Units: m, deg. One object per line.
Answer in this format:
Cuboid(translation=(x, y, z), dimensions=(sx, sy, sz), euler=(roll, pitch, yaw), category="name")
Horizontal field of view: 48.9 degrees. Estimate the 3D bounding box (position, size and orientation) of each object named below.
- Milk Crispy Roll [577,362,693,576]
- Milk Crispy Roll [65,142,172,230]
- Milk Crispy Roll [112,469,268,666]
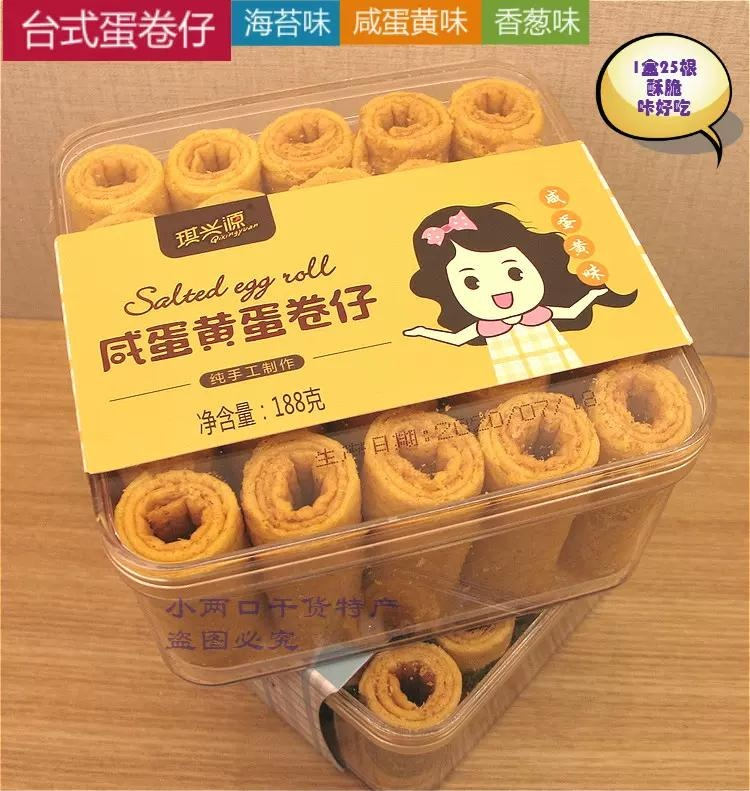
Cuboid(translation=(0.352, 0.050, 1.154), dimensions=(0.082, 0.162, 0.092), euler=(-10, 39, -32), category="Milk Crispy Roll")
Cuboid(translation=(-0.399, -0.330, 1.292), dimensions=(0.179, 0.096, 0.137), euler=(0, 61, -6), category="Milk Crispy Roll")
Cuboid(translation=(-0.246, 0.249, 1.142), dimensions=(0.157, 0.321, 0.153), euler=(-1, 47, 1), category="Milk Crispy Roll")
